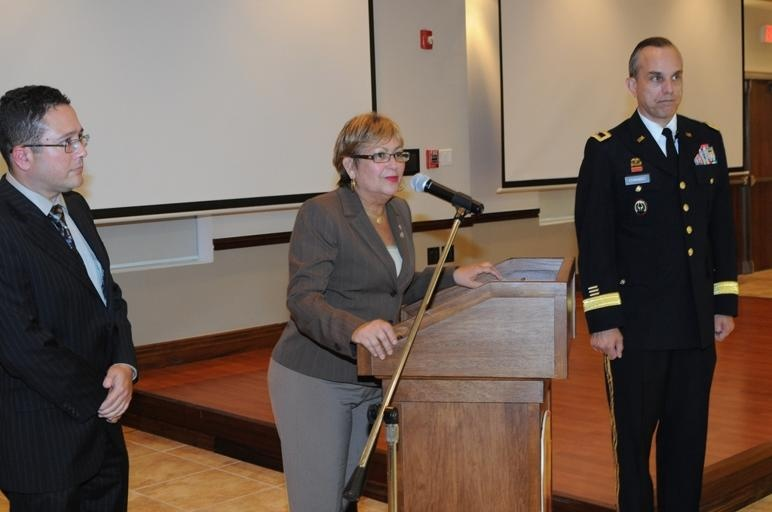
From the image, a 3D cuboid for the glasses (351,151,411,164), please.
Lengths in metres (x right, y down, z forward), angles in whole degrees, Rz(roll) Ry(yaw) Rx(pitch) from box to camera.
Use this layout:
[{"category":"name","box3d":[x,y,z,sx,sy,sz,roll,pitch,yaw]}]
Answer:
[{"category":"glasses","box3d":[-0.018,-0.348,2.093,0.103,0.030,0.092,-4,1,43]}]

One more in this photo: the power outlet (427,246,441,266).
[{"category":"power outlet","box3d":[0.488,-0.016,6.208,0.191,0.184,0.045,2,1,-42]}]

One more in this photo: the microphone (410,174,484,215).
[{"category":"microphone","box3d":[0.198,-0.208,1.981,0.215,0.129,0.310,-2,5,2]}]

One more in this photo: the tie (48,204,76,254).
[{"category":"tie","box3d":[-1.073,-0.104,1.965,0.044,0.200,0.022,-21,-1,-25]}]

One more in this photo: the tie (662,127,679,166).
[{"category":"tie","box3d":[1.101,-0.427,2.298,0.035,0.155,0.043,-4,-20,-8]}]
